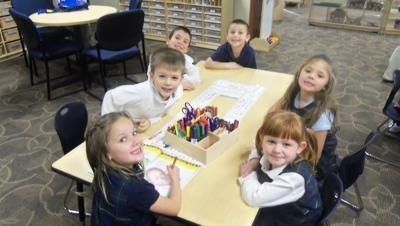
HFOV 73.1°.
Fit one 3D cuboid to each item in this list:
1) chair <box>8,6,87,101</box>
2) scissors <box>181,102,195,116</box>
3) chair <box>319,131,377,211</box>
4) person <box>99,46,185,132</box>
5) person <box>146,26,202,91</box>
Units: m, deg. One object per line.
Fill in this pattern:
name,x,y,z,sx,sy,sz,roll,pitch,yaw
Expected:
chair,-2.514,-0.966,4.487,1.074,1.569,0.982,-31,57,-35
scissors,-0.121,-0.026,2.602,0.152,0.136,0.102,6,39,20
chair,1.465,0.608,2.662,0.458,0.687,0.530,-38,49,-23
person,-0.563,-0.287,2.900,0.421,0.928,1.108,-14,49,-24
person,-0.308,-0.660,3.184,0.573,0.751,0.497,8,4,-17
